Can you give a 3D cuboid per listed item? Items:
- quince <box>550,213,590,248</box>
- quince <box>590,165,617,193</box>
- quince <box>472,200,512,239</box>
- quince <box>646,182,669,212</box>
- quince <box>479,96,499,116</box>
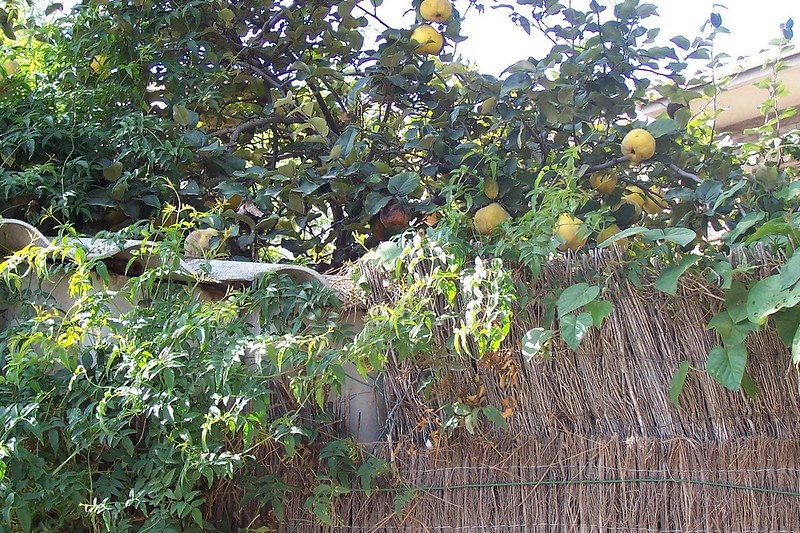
[{"bbox_3d":[0.604,-0.134,2.622,0.099,0.130,0.172,-7,-22,11],"label":"quince"},{"bbox_3d":[0.829,-0.346,2.992,0.094,0.112,0.088,13,-18,-43],"label":"quince"},{"bbox_3d":[0.348,-0.179,2.792,0.117,0.126,0.120,-14,9,-20],"label":"quince"},{"bbox_3d":[1.081,-0.294,3.094,0.095,0.122,0.101,9,5,33],"label":"quince"},{"bbox_3d":[0.366,-0.653,2.991,0.044,0.025,0.078,21,29,8],"label":"quince"}]
